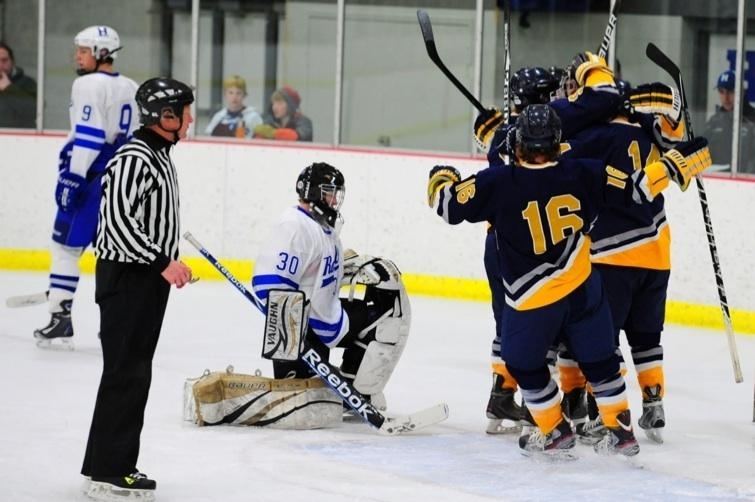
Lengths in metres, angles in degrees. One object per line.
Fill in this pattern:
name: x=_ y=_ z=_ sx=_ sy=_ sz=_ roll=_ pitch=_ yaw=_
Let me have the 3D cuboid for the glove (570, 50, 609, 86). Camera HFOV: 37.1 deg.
glove: x=1.223 y=-1.088 z=6.653 sx=0.179 sy=0.206 sz=0.242 roll=-8 pitch=13 yaw=-17

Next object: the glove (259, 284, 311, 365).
glove: x=-0.540 y=0.430 z=6.332 sx=0.275 sy=0.372 sz=0.101 roll=4 pitch=-3 yaw=3

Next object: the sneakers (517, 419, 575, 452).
sneakers: x=0.928 y=1.023 z=6.266 sx=0.339 sy=0.221 sz=0.133 roll=2 pitch=3 yaw=16

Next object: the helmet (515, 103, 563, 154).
helmet: x=0.841 y=-0.644 z=5.941 sx=0.200 sy=0.259 sz=0.200 roll=1 pitch=4 yaw=5

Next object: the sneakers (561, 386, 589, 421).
sneakers: x=1.124 y=0.889 z=6.471 sx=0.090 sy=0.101 sz=0.242 roll=-1 pitch=18 yaw=11

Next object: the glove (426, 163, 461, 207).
glove: x=0.350 y=-0.378 z=6.237 sx=0.202 sy=0.224 sz=0.082 roll=14 pitch=22 yaw=2

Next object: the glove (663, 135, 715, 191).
glove: x=1.652 y=-0.490 z=6.009 sx=0.118 sy=0.276 sz=0.280 roll=47 pitch=16 yaw=22

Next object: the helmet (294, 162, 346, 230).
helmet: x=-0.324 y=-0.352 z=6.778 sx=0.356 sy=0.413 sz=0.325 roll=-2 pitch=2 yaw=7

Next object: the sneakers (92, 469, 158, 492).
sneakers: x=-1.261 y=1.166 z=5.615 sx=0.336 sy=0.135 sz=0.111 roll=-2 pitch=2 yaw=-4

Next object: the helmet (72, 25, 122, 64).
helmet: x=-2.002 y=-1.483 z=8.031 sx=0.305 sy=0.235 sz=0.239 roll=-3 pitch=5 yaw=-7

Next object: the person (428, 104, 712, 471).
person: x=1.054 y=0.264 z=6.610 sx=1.178 sy=2.130 sz=0.832 roll=-6 pitch=14 yaw=8

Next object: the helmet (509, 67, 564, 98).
helmet: x=0.929 y=-1.036 z=6.747 sx=0.192 sy=0.182 sz=0.248 roll=-2 pitch=20 yaw=-23

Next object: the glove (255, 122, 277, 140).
glove: x=-1.065 y=-1.143 z=10.696 sx=0.198 sy=0.070 sz=0.140 roll=1 pitch=47 yaw=-6

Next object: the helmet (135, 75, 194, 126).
helmet: x=-1.115 y=-0.747 z=5.757 sx=0.286 sy=0.211 sz=0.220 roll=13 pitch=-3 yaw=-14
